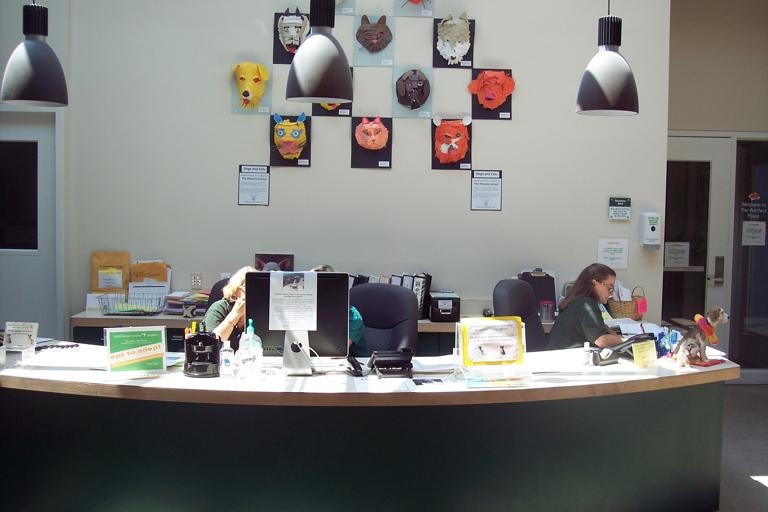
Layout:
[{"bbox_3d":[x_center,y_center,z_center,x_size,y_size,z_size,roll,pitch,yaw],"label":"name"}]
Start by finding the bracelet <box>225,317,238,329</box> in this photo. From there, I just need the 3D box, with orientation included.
[{"bbox_3d":[-1.036,0.456,4.463,0.051,0.051,0.051,2,-2,-34],"label":"bracelet"}]

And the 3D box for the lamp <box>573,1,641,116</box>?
[{"bbox_3d":[1.566,-1.357,4.587,0.386,0.731,0.387,0,3,21],"label":"lamp"}]

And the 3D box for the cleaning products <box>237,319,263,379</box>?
[{"bbox_3d":[-0.856,0.597,4.153,0.151,0.378,0.151,1,9,-16],"label":"cleaning products"}]

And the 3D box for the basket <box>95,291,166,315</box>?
[{"bbox_3d":[-2.307,0.440,5.882,0.634,0.165,0.336,-1,4,-8],"label":"basket"}]

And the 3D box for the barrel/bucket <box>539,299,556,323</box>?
[{"bbox_3d":[1.497,0.518,6.083,0.161,0.185,0.170,0,1,0],"label":"barrel/bucket"}]

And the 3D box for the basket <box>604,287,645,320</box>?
[{"bbox_3d":[2.209,0.528,6.101,0.347,0.159,0.279,12,-22,-40],"label":"basket"}]

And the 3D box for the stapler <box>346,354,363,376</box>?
[{"bbox_3d":[-0.187,0.703,4.172,0.095,0.107,0.160,-1,3,-4],"label":"stapler"}]

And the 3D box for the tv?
[{"bbox_3d":[-0.575,0.434,4.175,0.592,0.645,0.208,0,2,1],"label":"tv"}]

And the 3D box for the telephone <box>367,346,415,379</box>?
[{"bbox_3d":[0.039,0.682,4.161,0.281,0.164,0.158,-1,3,-2],"label":"telephone"}]
